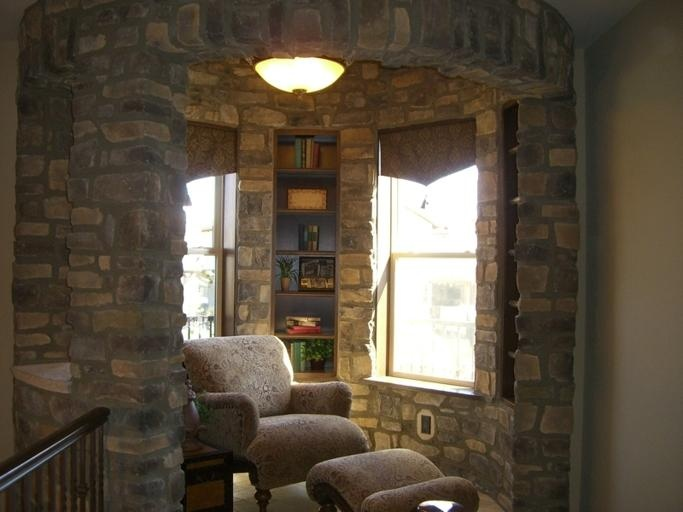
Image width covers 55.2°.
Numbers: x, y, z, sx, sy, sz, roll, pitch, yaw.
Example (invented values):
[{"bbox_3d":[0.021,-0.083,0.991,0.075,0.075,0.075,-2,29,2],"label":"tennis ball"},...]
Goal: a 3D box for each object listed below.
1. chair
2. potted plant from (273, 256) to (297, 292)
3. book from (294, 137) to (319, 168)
[{"bbox_3d":[-0.506,1.157,4.949,1.063,1.271,1.250,6,-12,-41],"label":"chair"},{"bbox_3d":[-0.498,0.169,5.890,0.205,0.292,0.227,1,2,-34],"label":"potted plant"},{"bbox_3d":[-0.324,-0.898,5.845,0.221,0.314,0.308,1,-3,-5],"label":"book"}]
